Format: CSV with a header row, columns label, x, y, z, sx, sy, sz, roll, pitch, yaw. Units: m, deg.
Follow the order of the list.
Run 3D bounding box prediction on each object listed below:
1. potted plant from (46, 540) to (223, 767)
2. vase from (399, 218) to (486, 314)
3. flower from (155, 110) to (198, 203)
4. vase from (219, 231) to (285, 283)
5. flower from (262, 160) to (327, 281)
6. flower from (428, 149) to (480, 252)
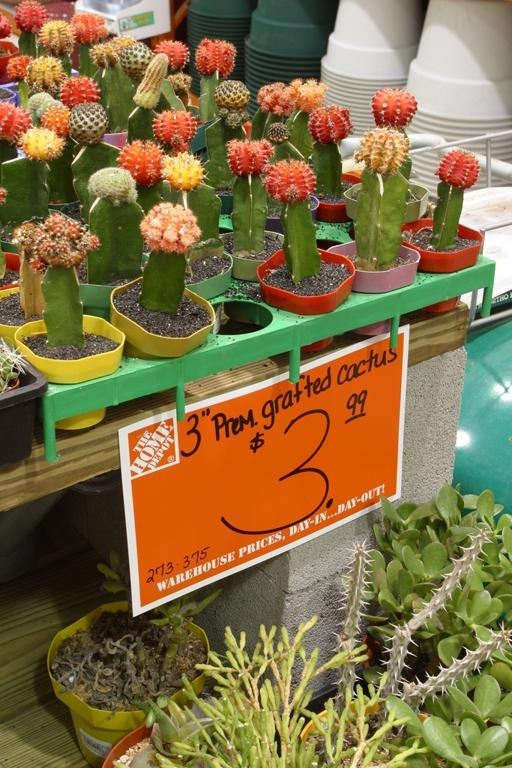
label,x,y,z,sx,sy,sz,roll,pitch,yaw
potted plant,-0.165,0.434,1.034,0.312,0.305,0.284,-9,30,-26
vase,0.273,-0.188,0.931,0.134,0.123,0.143,0,17,7
flower,-0.102,-0.315,0.807,0.086,0.108,0.090,1,31,-5
vase,-0.009,-0.195,0.856,0.070,0.034,0.092,-17,31,-25
flower,0.046,-0.198,0.722,0.081,0.142,0.110,6,31,0
flower,0.284,-0.278,0.876,0.060,0.135,0.159,14,32,14
